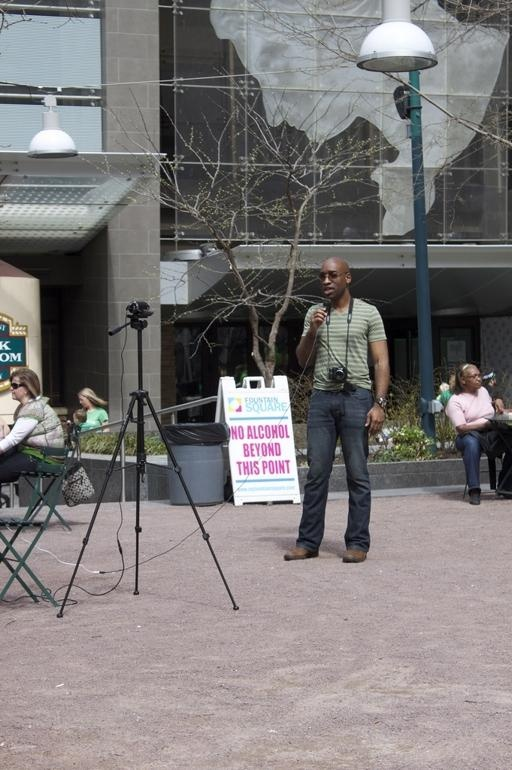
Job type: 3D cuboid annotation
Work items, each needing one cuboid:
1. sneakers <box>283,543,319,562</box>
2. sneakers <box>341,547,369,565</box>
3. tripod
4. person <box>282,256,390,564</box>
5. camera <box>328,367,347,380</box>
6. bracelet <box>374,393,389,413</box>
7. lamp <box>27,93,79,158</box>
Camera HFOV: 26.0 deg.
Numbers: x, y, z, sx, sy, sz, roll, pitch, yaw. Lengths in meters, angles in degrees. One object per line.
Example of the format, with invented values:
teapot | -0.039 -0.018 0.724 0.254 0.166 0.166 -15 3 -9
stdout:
sneakers | 0.284 1.089 7.284 0.240 0.099 0.086 5 -13 -25
sneakers | 0.625 1.091 7.097 0.159 0.069 0.116 -2 -1 -3
tripod | -0.764 0.510 6.314 0.987 1.597 0.969 -1 -2 -35
person | 0.516 0.162 7.194 0.676 1.550 0.340 -2 -1 9
camera | 0.513 -0.060 7.137 0.128 0.119 0.073 0 -2 -7
bracelet | 0.778 0.113 7.116 0.099 0.074 0.113 5 -35 49
lamp | -2.289 -2.908 12.382 0.504 0.829 0.854 -2 -1 -19
